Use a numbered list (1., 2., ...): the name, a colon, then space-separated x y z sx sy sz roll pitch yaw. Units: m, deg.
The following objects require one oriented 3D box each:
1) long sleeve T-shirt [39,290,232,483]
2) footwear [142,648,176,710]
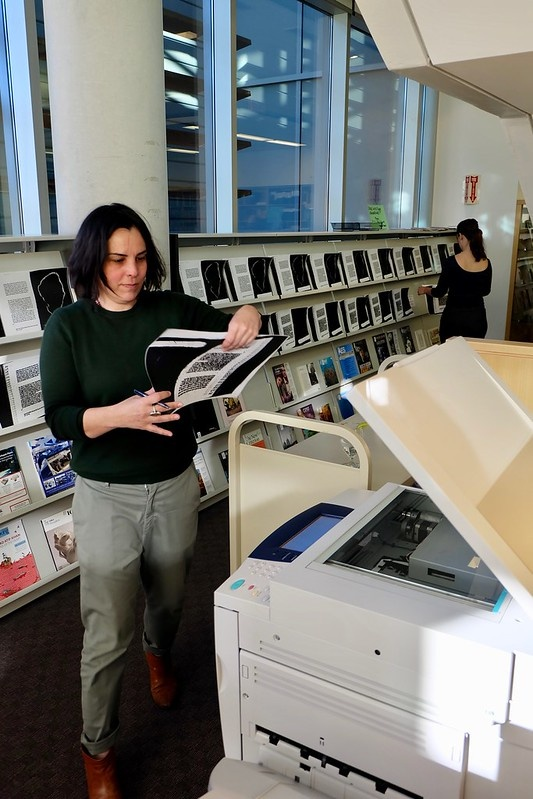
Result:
1. long sleeve T-shirt: -0.364 0.017 1.370 0.482 0.563 0.219 -13 8 -37
2. footwear: -0.396 1.048 1.951 0.093 0.174 0.248 -11 50 -13
